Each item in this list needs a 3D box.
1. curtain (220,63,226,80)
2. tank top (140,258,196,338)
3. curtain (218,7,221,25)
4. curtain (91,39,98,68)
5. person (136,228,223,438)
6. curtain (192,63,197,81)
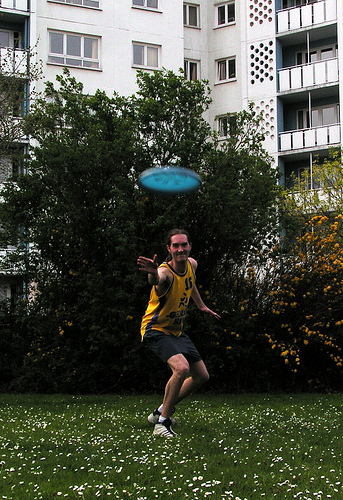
[{"bbox_3d":[3.479,-11.964,39.150,0.467,1.133,0.132,-4,-5,34],"label":"curtain"},{"bbox_3d":[-0.022,0.541,6.285,0.553,0.813,0.606,-1,-4,-8],"label":"tank top"},{"bbox_3d":[3.283,-15.893,39.681,0.187,1.300,0.268,-2,-4,14],"label":"curtain"},{"bbox_3d":[-4.474,-11.383,33.942,0.336,1.721,0.180,-1,-4,-7],"label":"curtain"},{"bbox_3d":[0.022,0.882,6.170,0.685,2.212,1.434,-2,-4,3],"label":"person"},{"bbox_3d":[1.535,-11.995,39.256,0.305,1.212,0.525,-3,-4,23],"label":"curtain"}]
